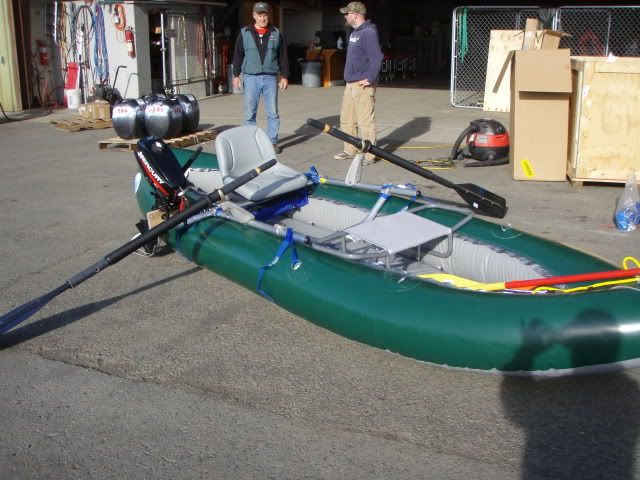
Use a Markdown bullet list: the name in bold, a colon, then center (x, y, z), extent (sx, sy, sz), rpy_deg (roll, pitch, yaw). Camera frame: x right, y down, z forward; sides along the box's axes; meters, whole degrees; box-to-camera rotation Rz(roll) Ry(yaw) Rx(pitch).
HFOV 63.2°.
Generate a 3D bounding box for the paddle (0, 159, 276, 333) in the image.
- **paddle**: center (-1.494, 0.085, 4.365), extent (3.613, 0.370, 0.125), rpy_deg (-24, 57, -24)

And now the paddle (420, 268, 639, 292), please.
- **paddle**: center (1.375, 0.262, 3.295), extent (1.082, 0.100, 0.139), rpy_deg (2, 22, 37)

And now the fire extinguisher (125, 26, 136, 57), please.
- **fire extinguisher**: center (-4.522, -4.714, 12.427), extent (0.253, 0.683, 0.156), rpy_deg (-3, 22, -4)

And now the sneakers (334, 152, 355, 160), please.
- **sneakers**: center (0.383, -1.225, 7.650), extent (0.308, 0.100, 0.103), rpy_deg (3, 15, 2)

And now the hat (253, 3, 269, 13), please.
- **hat**: center (-0.872, -3.489, 7.817), extent (0.201, 0.169, 0.293), rpy_deg (-5, 19, -10)

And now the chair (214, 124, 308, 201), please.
- **chair**: center (-0.629, -0.697, 4.679), extent (0.753, 0.478, 0.919), rpy_deg (-30, 44, -35)

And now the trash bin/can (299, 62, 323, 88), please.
- **trash bin/can**: center (-0.251, -5.219, 16.393), extent (0.952, 0.744, 0.839), rpy_deg (1, 14, 0)
